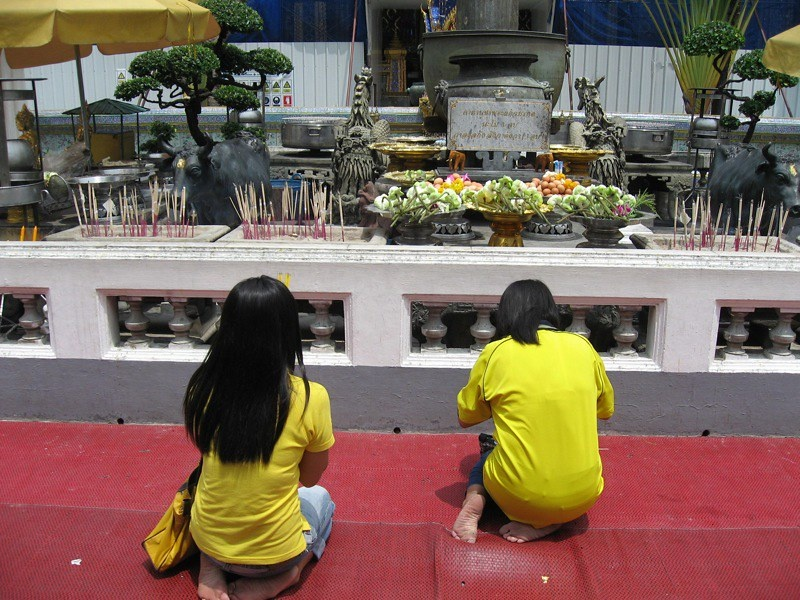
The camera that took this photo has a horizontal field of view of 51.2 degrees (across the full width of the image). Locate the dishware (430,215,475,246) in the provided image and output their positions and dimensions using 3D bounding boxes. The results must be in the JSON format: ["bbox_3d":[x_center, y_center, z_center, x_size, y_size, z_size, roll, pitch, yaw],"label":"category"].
[{"bbox_3d":[0.377,-0.487,5.912,0.294,0.217,0.396,-2,13,4],"label":"dishware"}]

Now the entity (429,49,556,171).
[{"bbox_3d":[0.792,-1.597,6.921,0.909,0.858,1.019,0,8,1],"label":"entity"}]

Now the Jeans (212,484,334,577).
[{"bbox_3d":[-0.522,1.113,4.120,0.421,0.150,0.448,5,6,16],"label":"Jeans"}]

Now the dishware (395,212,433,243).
[{"bbox_3d":[0.111,-0.486,5.642,0.196,0.121,0.197,-1,7,-5],"label":"dishware"}]

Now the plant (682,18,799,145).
[{"bbox_3d":[4.951,-3.160,12.301,1.361,1.731,3.084,3,14,22],"label":"plant"}]

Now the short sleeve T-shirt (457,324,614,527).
[{"bbox_3d":[0.731,0.632,4.642,0.978,1.111,0.918,-1,3,6],"label":"short sleeve T-shirt"}]

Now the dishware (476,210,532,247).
[{"bbox_3d":[0.701,-0.469,5.634,0.307,0.243,0.409,2,14,20],"label":"dishware"}]

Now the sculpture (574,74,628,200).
[{"bbox_3d":[2.110,-1.720,8.777,0.527,1.264,1.390,0,13,13],"label":"sculpture"}]

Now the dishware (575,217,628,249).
[{"bbox_3d":[1.402,-0.474,5.852,0.345,0.234,0.385,-5,13,-10],"label":"dishware"}]
